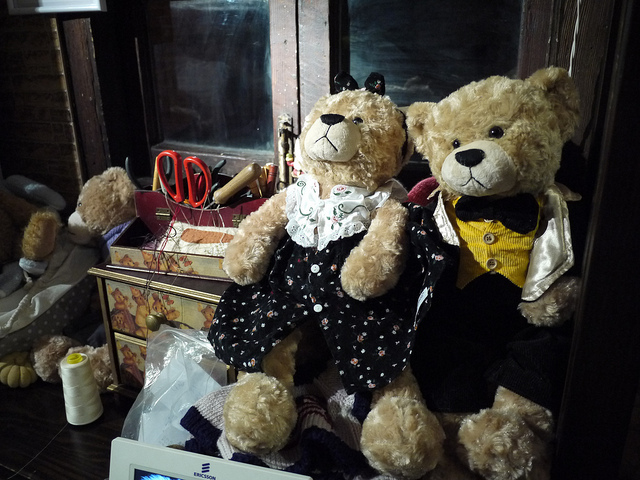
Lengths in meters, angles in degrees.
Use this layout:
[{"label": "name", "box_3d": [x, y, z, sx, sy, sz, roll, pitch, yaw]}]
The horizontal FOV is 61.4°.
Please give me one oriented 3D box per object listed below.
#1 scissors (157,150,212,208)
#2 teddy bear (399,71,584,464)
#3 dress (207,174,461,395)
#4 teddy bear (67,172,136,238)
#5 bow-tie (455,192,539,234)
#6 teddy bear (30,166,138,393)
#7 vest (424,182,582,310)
[{"label": "scissors", "box_3d": [-0.443, -0.238, 1.900, 0.177, 0.247, 0.150, 12, 24, 27]}, {"label": "teddy bear", "box_3d": [0.424, 0.062, 1.344, 0.463, 0.843, 0.540, 5, 28, 8]}, {"label": "dress", "box_3d": [0.037, 0.158, 1.480, 0.538, 0.174, 0.663, 14, 74, 25]}, {"label": "teddy bear", "box_3d": [-0.874, -0.133, 2.144, 0.312, 0.272, 0.111, 8, 28, 12]}, {"label": "bow-tie", "box_3d": [0.458, -0.082, 1.399, 0.207, 0.085, 0.060, 10, 30, 15]}, {"label": "teddy bear", "box_3d": [-0.924, 0.069, 2.096, 0.381, 0.982, 0.377, 17, 25, 31]}, {"label": "vest", "box_3d": [0.481, 0.008, 1.455, 0.304, 0.346, 0.131, -2, -13, 6]}]
